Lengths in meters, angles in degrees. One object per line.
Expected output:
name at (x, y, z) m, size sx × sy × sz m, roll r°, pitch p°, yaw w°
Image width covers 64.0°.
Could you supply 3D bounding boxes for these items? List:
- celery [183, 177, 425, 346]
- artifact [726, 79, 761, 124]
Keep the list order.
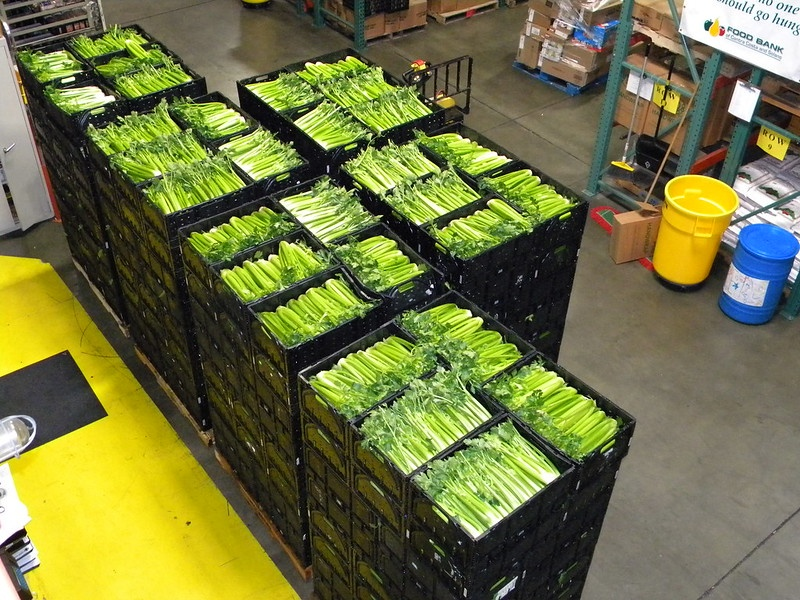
celery at (-1.071, -0.308, 6.216) m, size 1.395 × 0.427 × 1.399 m, roll -29°, pitch 57°, yaw -25°
artifact at (4.590, -2.635, 8.584) m, size 0.359 × 0.523 × 0.194 m, roll 30°, pitch 49°, yaw 26°
